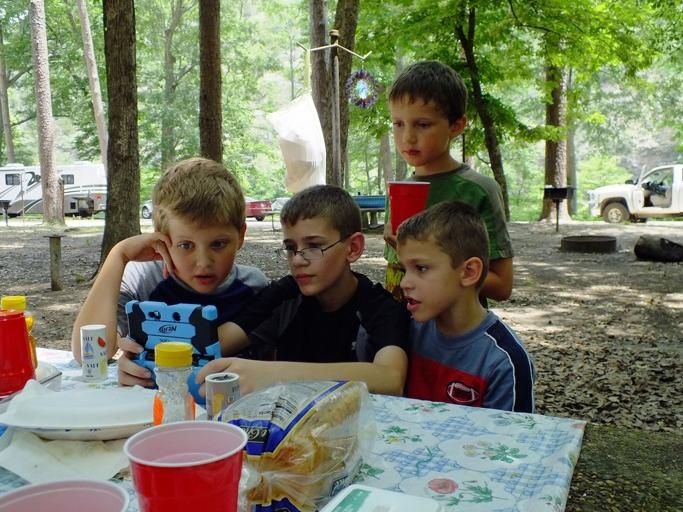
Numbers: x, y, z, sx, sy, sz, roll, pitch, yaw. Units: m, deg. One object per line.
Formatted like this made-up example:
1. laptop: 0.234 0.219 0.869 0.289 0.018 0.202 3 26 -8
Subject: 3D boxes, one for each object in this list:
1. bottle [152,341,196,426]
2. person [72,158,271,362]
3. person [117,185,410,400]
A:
1. bottle: -0.518 0.389 1.870 0.128 0.273 0.181 -4 10 -16
2. person: -0.785 -0.005 2.872 0.843 0.874 0.475 -2 10 -7
3. person: -0.230 0.108 2.663 0.833 0.829 1.161 -1 -4 33
